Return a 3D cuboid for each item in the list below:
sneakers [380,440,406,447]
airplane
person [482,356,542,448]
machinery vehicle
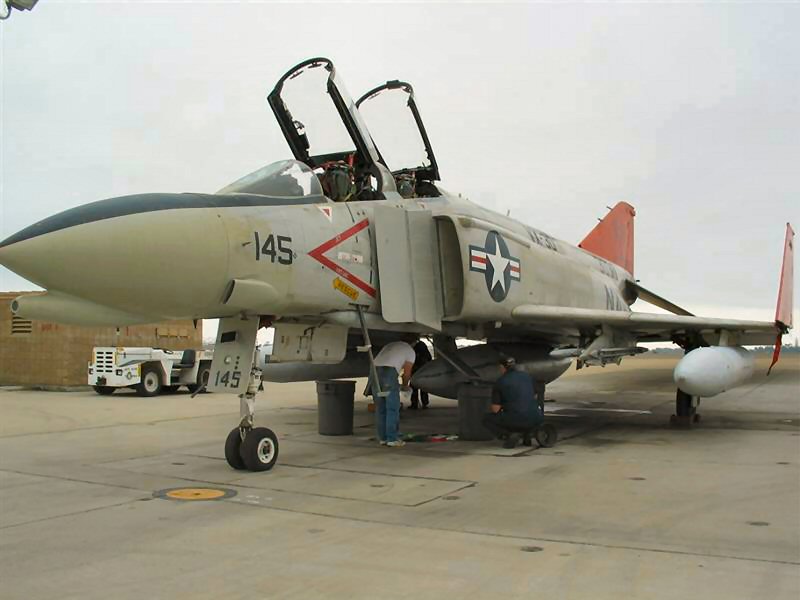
[{"bbox_3d":[-0.093,1.747,8.642,0.277,0.095,0.104,0,2,-42],"label":"sneakers"},{"bbox_3d":[-0.238,-0.363,9.382,8.923,2.785,6.236,3,-5,-39],"label":"airplane"},{"bbox_3d":[1.373,1.311,8.853,0.826,1.131,0.805,-9,34,-2],"label":"person"},{"bbox_3d":[-5.510,1.538,15.461,1.751,1.029,3.614,-5,-7,37],"label":"machinery vehicle"}]
